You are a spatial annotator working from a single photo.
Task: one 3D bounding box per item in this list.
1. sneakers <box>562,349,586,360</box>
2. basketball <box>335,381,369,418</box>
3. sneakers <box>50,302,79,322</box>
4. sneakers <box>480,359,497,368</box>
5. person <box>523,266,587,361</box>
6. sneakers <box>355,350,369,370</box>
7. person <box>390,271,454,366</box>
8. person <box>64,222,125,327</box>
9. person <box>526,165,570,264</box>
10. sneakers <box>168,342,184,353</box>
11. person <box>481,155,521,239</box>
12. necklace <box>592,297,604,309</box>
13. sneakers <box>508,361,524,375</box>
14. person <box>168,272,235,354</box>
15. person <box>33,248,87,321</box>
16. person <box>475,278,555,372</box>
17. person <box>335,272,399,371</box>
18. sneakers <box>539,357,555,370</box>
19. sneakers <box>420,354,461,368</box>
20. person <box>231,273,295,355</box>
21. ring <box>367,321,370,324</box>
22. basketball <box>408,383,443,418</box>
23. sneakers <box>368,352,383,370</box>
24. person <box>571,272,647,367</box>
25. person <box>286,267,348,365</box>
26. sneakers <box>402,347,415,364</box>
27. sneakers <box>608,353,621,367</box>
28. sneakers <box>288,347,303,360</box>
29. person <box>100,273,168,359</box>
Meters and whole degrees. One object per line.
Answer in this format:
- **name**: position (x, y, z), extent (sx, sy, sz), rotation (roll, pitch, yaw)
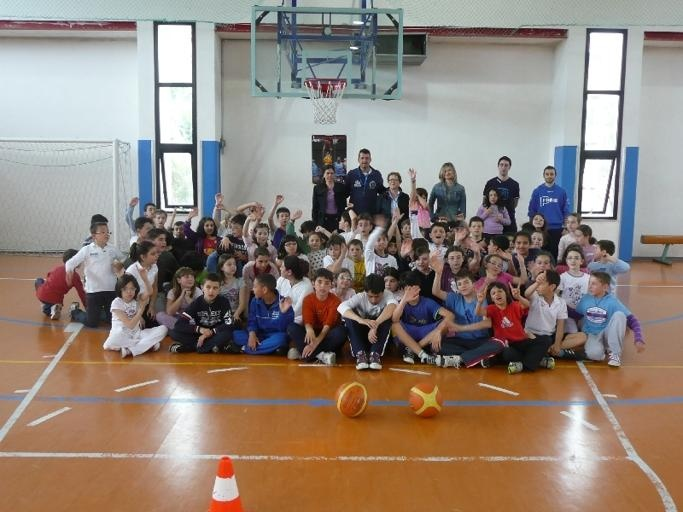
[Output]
- **sneakers**: position (2.282, 0.976, 5.940), extent (0.194, 0.075, 0.118), rotation (2, 6, 0)
- **basketball**: position (0.099, 1.110, 4.722), extent (0.243, 0.268, 0.246), rotation (3, 5, 8)
- **sneakers**: position (-3.193, 0.648, 6.971), extent (0.218, 0.307, 0.108), rotation (4, -34, -26)
- **sneakers**: position (1.404, 1.029, 5.766), extent (0.151, 0.073, 0.066), rotation (9, -16, -38)
- **person**: position (2.044, 0.553, 5.859), extent (0.609, 0.863, 0.625), rotation (5, 6, 42)
- **sneakers**: position (0.196, 0.988, 5.690), extent (0.129, 0.158, 0.177), rotation (1, 12, 2)
- **person**: position (0.768, 0.598, 5.891), extent (0.541, 0.855, 0.788), rotation (-5, 1, 18)
- **person**: position (-2.778, 0.186, 6.822), extent (0.643, 1.186, 0.657), rotation (-4, 7, -35)
- **person**: position (3.166, -0.551, 9.199), extent (0.555, 1.777, 0.320), rotation (1, 31, 23)
- **sneakers**: position (-1.684, 0.921, 6.099), extent (0.107, 0.087, 0.191), rotation (-9, 15, -41)
- **person**: position (2.341, -0.728, 8.943), extent (0.491, 1.473, 0.444), rotation (4, 8, 19)
- **necklace**: position (2.538, 0.467, 5.979), extent (0.091, 0.095, 0.023), rotation (4, -6, 19)
- **sneakers**: position (1.620, 1.045, 5.614), extent (0.117, 0.129, 0.085), rotation (-5, -15, -4)
- **person**: position (-1.353, 0.606, 6.095), extent (0.639, 0.837, 0.668), rotation (11, 10, 39)
- **person**: position (-3.379, 0.306, 7.219), extent (0.630, 0.836, 0.519), rotation (10, 3, 25)
- **person**: position (1.617, 0.667, 5.782), extent (0.588, 0.934, 0.689), rotation (-13, -5, -1)
- **person**: position (0.248, 0.612, 5.801), extent (0.571, 0.851, 0.550), rotation (2, 12, 3)
- **sneakers**: position (1.977, 1.017, 5.783), extent (0.132, 0.107, 0.130), rotation (6, 12, 22)
- **sneakers**: position (0.946, 1.000, 5.785), extent (0.393, 0.111, 0.110), rotation (4, 12, 15)
- **person**: position (-0.764, 0.582, 6.138), extent (0.631, 0.792, 0.546), rotation (-1, 3, 23)
- **ring**: position (0.256, 0.636, 5.746), extent (0.024, 0.023, 0.007), rotation (5, 0, 15)
- **basketball**: position (0.650, 1.113, 4.739), extent (0.232, 0.252, 0.236), rotation (-1, 0, -26)
- **sneakers**: position (0.323, 0.991, 5.707), extent (0.116, 0.137, 0.179), rotation (2, 11, 3)
- **person**: position (2.540, 0.615, 5.900), extent (0.566, 0.956, 0.686), rotation (4, -9, -43)
- **person**: position (-0.228, 0.586, 5.956), extent (0.553, 0.905, 0.721), rotation (1, 4, -4)
- **sneakers**: position (0.654, 0.976, 5.876), extent (0.115, 0.143, 0.302), rotation (0, -9, 3)
- **sneakers**: position (2.657, 0.994, 5.860), extent (0.117, 0.119, 0.246), rotation (7, 13, 27)
- **sneakers**: position (-0.445, 0.970, 5.965), extent (0.119, 0.124, 0.090), rotation (-2, -30, -8)
- **person**: position (-2.100, 0.568, 6.083), extent (0.514, 0.784, 0.484), rotation (10, 15, 37)
